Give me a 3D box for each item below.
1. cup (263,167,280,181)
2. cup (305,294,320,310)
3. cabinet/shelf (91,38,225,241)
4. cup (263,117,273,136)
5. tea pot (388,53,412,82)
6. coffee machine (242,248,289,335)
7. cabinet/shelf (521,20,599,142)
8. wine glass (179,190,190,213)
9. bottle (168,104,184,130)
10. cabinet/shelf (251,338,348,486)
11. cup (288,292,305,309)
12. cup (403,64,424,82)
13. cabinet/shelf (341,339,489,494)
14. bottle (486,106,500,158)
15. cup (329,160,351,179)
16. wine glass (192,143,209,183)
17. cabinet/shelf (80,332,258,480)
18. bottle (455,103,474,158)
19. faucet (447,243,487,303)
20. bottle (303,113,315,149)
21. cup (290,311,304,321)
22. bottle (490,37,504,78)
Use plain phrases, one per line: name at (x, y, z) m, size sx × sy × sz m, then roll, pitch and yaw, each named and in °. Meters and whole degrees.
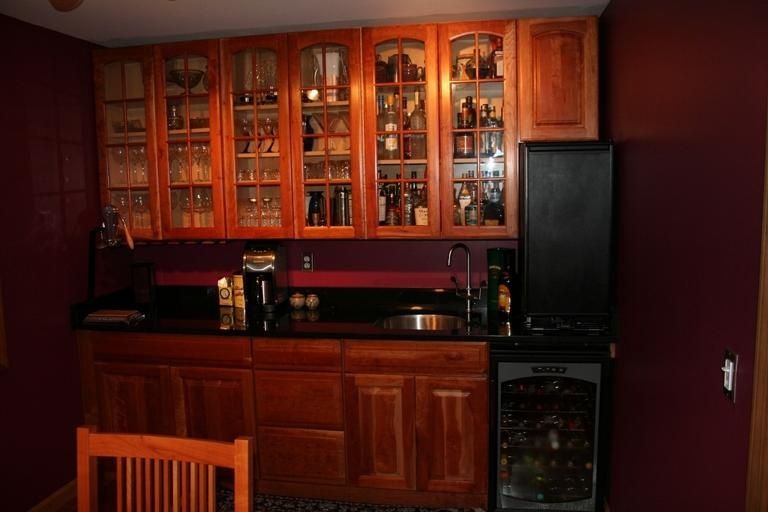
cup at (-0.777, -0.563, 4.453) m, size 0.087 × 0.069 × 0.096 m, roll 1°, pitch -2°, yaw -43°
cup at (-0.524, 0.332, 4.656) m, size 0.103 × 0.094 × 0.101 m, roll 0°, pitch 2°, yaw 0°
cabinet/shelf at (-1.564, -0.792, 4.522) m, size 0.905 × 1.327 × 0.288 m, roll 1°, pitch 14°, yaw 14°
cup at (-0.796, -0.888, 4.426) m, size 0.077 × 0.103 × 0.040 m, roll 0°, pitch 4°, yaw 11°
tea pot at (0.106, -1.245, 4.267) m, size 0.176 × 0.185 × 0.173 m, roll 1°, pitch 12°, yaw 0°
coffee machine at (-0.848, 0.155, 4.579) m, size 0.321 × 0.469 × 0.388 m, roll -5°, pitch 14°, yaw -9°
cabinet/shelf at (1.308, -1.199, 4.305) m, size 0.744 × 0.794 × 0.738 m, roll -1°, pitch 14°, yaw 16°
wine glass at (-1.402, -0.393, 4.545) m, size 0.118 × 0.129 × 0.049 m, roll 3°, pitch 9°, yaw 22°
bottle at (-1.462, -0.973, 4.504) m, size 0.153 × 0.169 × 0.149 m, roll -2°, pitch 5°, yaw -18°
cabinet/shelf at (-0.520, 0.983, 4.557) m, size 0.747 × 1.124 × 0.832 m, roll -1°, pitch 11°, yaw -7°
cup at (-0.618, 0.318, 4.692) m, size 0.114 × 0.114 × 0.113 m, roll 0°, pitch 6°, yaw 0°
cup at (0.192, -1.214, 4.269) m, size 0.138 × 0.094 × 0.103 m, roll 1°, pitch 7°, yaw 4°
cabinet/shelf at (0.230, 0.975, 4.085) m, size 1.031 × 1.040 × 0.371 m, roll 0°, pitch 3°, yaw 9°
bottle at (0.714, -0.826, 4.249) m, size 0.089 × 0.332 × 0.088 m, roll -3°, pitch 13°, yaw 1°
cup at (-0.303, -0.591, 4.376) m, size 0.121 × 0.128 × 0.135 m, roll -2°, pitch 9°, yaw -20°
wine glass at (-1.283, -0.656, 4.509) m, size 0.131 × 0.262 × 0.058 m, roll -1°, pitch 14°, yaw 9°
cabinet/shelf at (-1.239, 0.855, 3.856) m, size 1.052 × 0.943 × 0.404 m, roll 0°, pitch 3°, yaw 6°
bottle at (0.532, -0.849, 4.258) m, size 0.144 × 0.385 × 0.093 m, roll -1°, pitch 14°, yaw 6°
faucet at (0.571, 0.117, 4.493) m, size 0.263 × 0.478 × 0.383 m, roll -2°, pitch 13°, yaw 5°
bottle at (-0.517, -0.836, 4.381) m, size 0.079 × 0.235 × 0.078 m, roll -3°, pitch 13°, yaw 1°
cup at (-0.603, 0.415, 4.493) m, size 0.059 × 0.054 × 0.058 m, roll 0°, pitch 4°, yaw 0°
bottle at (0.731, -1.298, 4.200) m, size 0.078 × 0.261 × 0.052 m, roll -1°, pitch 14°, yaw 9°
